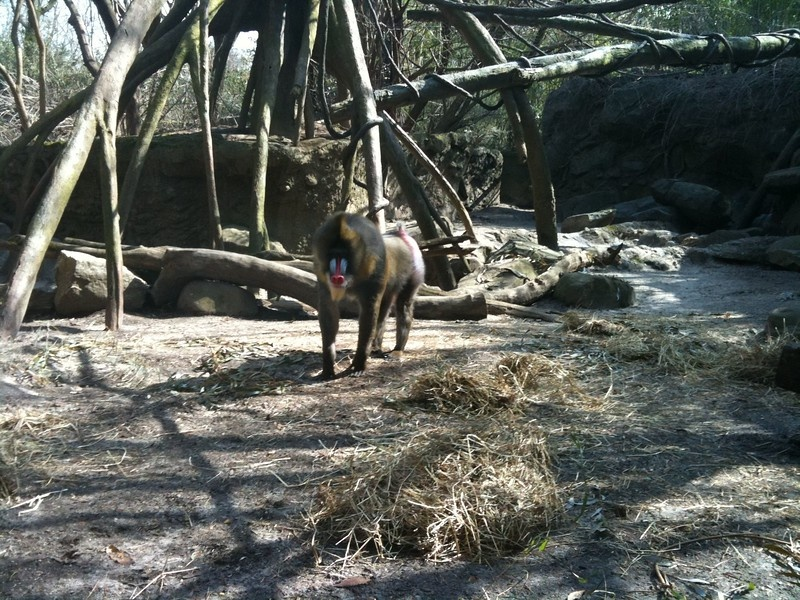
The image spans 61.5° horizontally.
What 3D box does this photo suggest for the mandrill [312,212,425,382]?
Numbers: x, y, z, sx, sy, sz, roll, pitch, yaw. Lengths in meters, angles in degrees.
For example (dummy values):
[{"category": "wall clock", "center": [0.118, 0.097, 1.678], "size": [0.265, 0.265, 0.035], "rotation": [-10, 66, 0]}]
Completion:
[{"category": "mandrill", "center": [-0.277, -0.056, 5.016], "size": [0.569, 1.053, 1.764], "rotation": [6, 6, 16]}]
